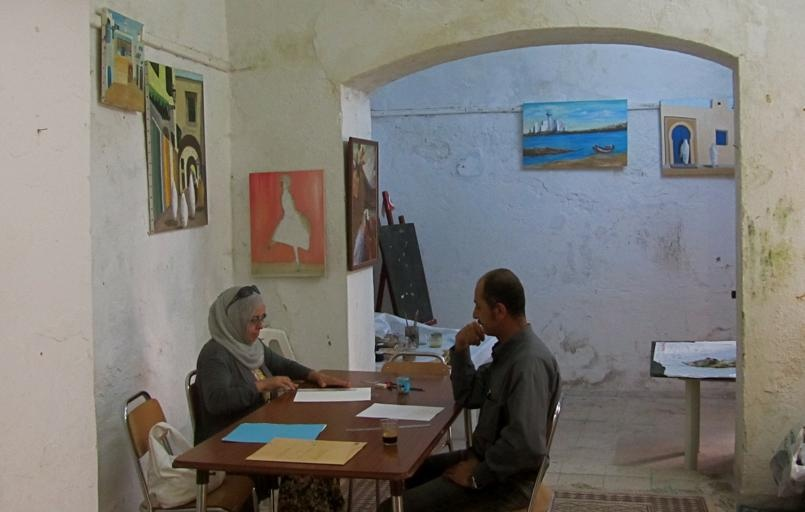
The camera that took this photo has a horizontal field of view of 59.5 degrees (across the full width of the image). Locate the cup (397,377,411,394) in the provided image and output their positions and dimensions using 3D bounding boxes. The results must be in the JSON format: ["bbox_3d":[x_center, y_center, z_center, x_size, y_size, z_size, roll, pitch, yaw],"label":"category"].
[{"bbox_3d":[0.006,0.818,4.491,0.091,0.098,0.091,1,-1,0],"label":"cup"}]

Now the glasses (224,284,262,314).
[{"bbox_3d":[-1.020,0.283,4.527,0.174,0.052,0.151,-40,-19,22],"label":"glasses"}]

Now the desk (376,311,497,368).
[{"bbox_3d":[0.192,0.754,7.016,0.790,0.314,0.557,5,29,13],"label":"desk"}]

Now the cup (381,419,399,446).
[{"bbox_3d":[-0.084,0.918,3.651,0.105,0.111,0.104,0,-5,0],"label":"cup"}]
